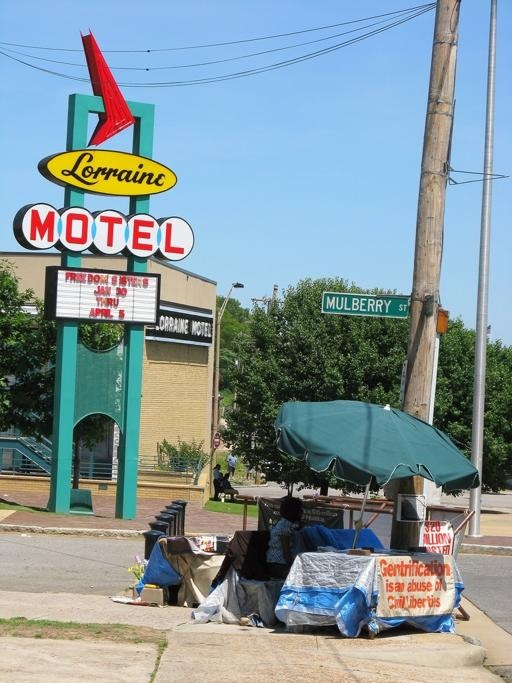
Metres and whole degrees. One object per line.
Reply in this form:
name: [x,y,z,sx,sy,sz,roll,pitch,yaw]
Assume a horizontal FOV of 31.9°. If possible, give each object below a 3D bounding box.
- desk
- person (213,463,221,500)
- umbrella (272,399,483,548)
desk: [1.117,2.408,8.474,1.755,0.603,0.750,3,-1,-12]
person: [-1.459,5.260,33.252,0.311,1.101,1.067,3,-1,-3]
umbrella: [1.070,1.034,9.053,1.447,0.979,1.363,22,8,-9]
